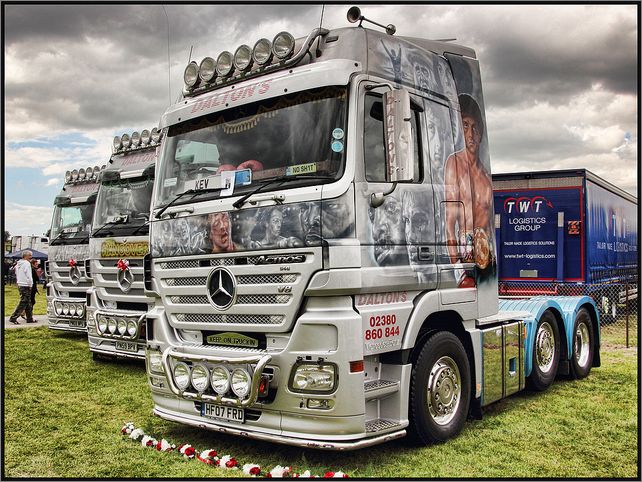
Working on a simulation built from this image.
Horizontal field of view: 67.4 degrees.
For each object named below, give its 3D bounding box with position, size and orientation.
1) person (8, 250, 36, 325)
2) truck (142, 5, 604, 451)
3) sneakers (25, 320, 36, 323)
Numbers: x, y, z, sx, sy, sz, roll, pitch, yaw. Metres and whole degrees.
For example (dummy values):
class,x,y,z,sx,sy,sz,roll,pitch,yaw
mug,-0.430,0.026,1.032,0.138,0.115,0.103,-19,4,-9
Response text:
class,x,y,z,sx,sy,sz,roll,pitch,yaw
person,-9.499,1.527,15.578,0.554,2.437,1.171,1,-2,-33
truck,0.915,0.305,7.754,3.096,4.008,6.244,-5,-9,40
sneakers,-9.736,2.761,16.469,0.278,0.139,0.110,-6,-11,24
